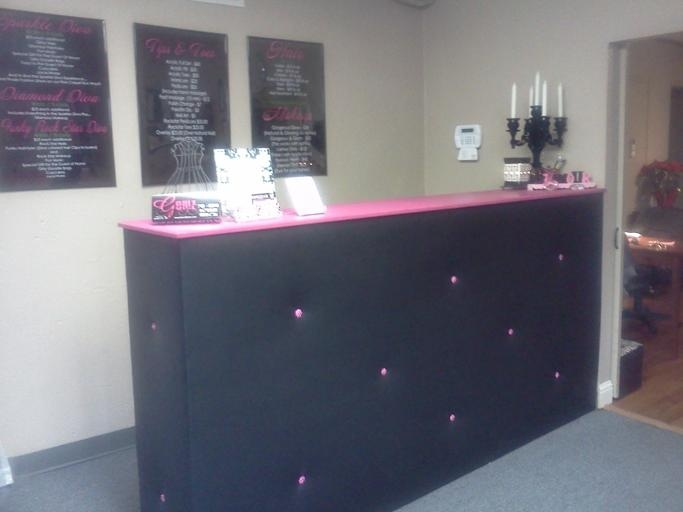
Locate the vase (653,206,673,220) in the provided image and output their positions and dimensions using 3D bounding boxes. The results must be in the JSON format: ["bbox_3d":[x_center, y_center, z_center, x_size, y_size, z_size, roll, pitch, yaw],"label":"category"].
[{"bbox_3d":[2.693,-0.362,4.642,0.161,0.089,0.068,5,13,30],"label":"vase"}]

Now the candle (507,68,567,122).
[{"bbox_3d":[1.193,-0.989,3.392,0.315,0.279,0.348,2,12,17],"label":"candle"}]

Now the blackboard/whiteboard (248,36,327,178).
[{"bbox_3d":[-0.338,-0.944,3.567,0.541,0.861,0.067,-9,13,-32],"label":"blackboard/whiteboard"}]
